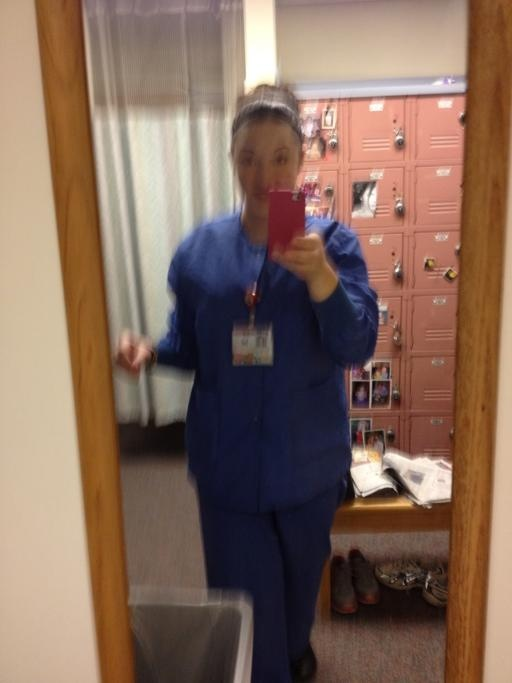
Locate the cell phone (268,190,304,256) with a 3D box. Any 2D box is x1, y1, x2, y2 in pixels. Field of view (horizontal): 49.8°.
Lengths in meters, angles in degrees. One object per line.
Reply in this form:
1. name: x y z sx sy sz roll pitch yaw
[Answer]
1. cell phone: 0.042 -0.172 0.781 0.058 0.140 0.012 -1 15 -1
